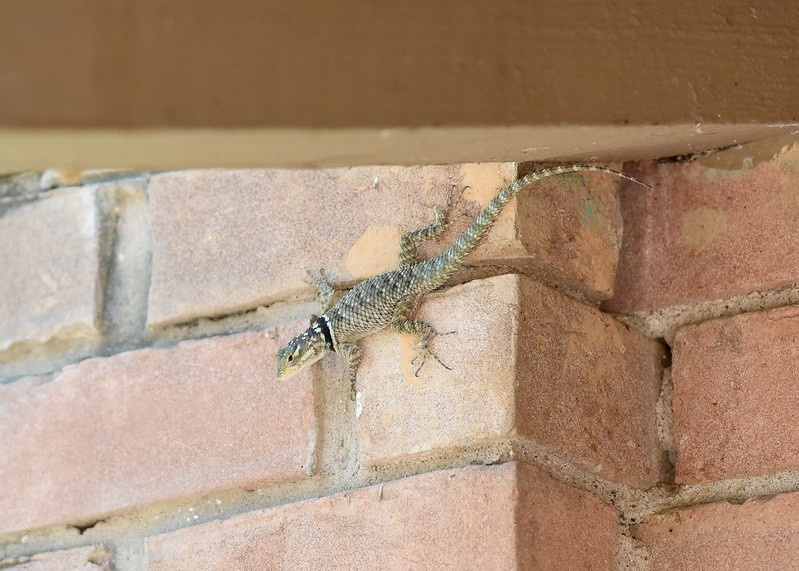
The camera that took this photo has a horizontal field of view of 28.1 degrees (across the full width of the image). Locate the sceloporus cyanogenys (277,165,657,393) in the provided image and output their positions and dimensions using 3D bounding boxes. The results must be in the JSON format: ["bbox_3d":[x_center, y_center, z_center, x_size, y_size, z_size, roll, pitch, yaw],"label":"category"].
[{"bbox_3d":[0.102,-0.001,3.846,0.956,0.115,0.435,-28,68,22],"label":"sceloporus cyanogenys"}]
